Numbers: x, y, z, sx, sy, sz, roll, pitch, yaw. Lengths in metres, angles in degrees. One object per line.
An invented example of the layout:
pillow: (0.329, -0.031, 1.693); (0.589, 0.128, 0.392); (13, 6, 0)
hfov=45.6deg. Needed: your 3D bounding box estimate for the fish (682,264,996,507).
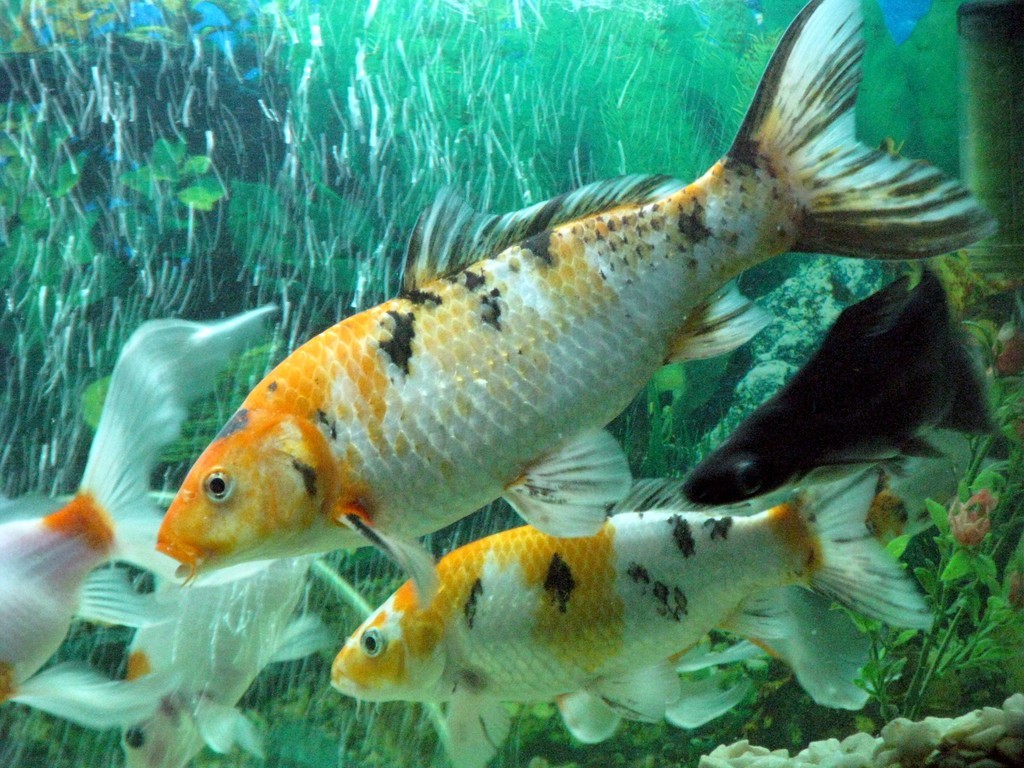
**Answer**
fish: (0.776, 0.002, 2.807); (0.751, 0.395, 0.183); (-36, 22, -6)
